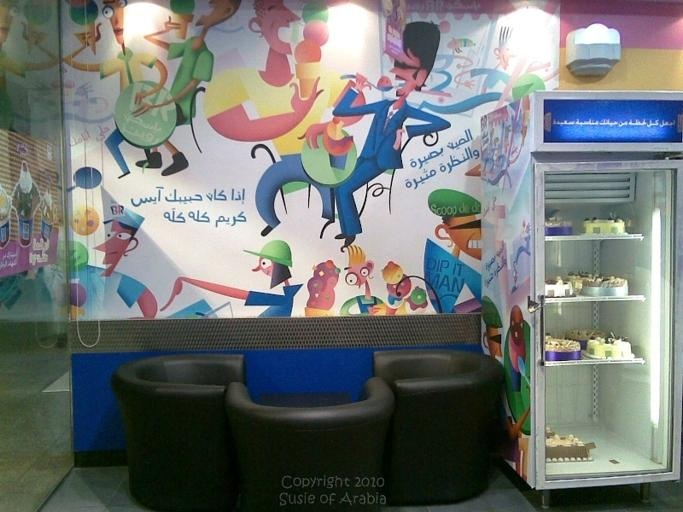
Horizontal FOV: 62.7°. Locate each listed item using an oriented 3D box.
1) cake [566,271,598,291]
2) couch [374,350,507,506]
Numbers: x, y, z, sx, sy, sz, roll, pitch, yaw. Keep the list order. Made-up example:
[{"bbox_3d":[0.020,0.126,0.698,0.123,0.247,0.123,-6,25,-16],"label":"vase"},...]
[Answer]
[{"bbox_3d":[1.827,0.180,4.293,0.156,0.066,0.182,-1,2,-9],"label":"cake"},{"bbox_3d":[0.673,1.221,4.354,0.913,0.987,1.098,0,-5,-7],"label":"couch"}]
